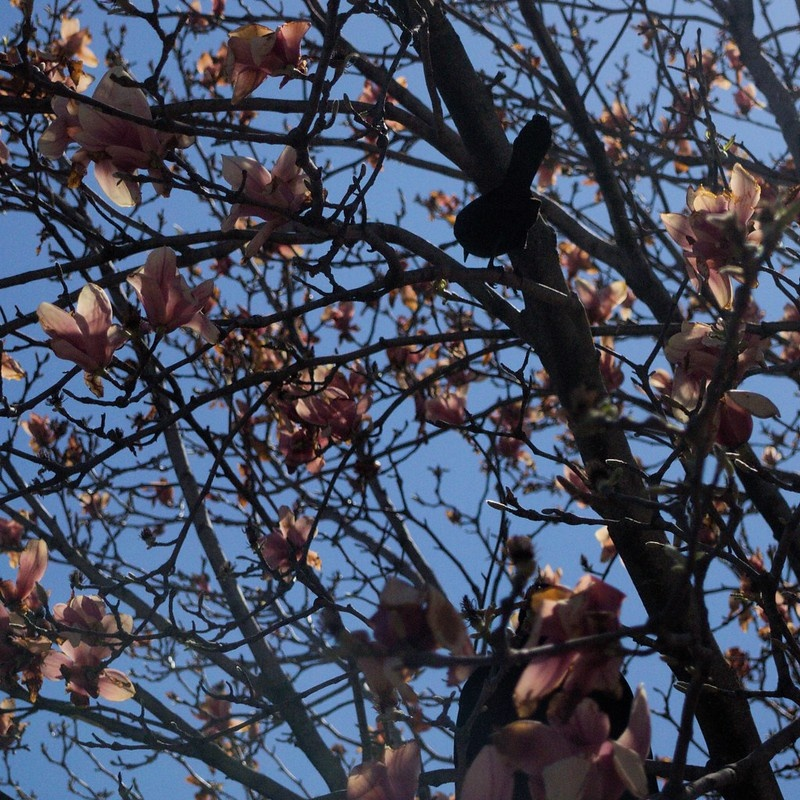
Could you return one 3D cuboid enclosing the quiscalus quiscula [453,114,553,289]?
[{"bbox_3d":[0.379,-0.646,7.510,0.466,0.227,0.248,-39,-50,25],"label":"quiscalus quiscula"}]

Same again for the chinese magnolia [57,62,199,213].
[{"bbox_3d":[-0.892,-0.807,7.300,0.418,0.363,0.496,24,-54,-31],"label":"chinese magnolia"}]
